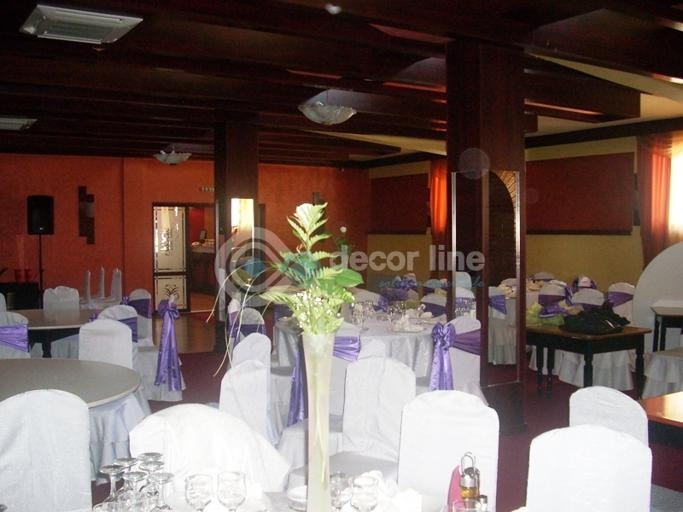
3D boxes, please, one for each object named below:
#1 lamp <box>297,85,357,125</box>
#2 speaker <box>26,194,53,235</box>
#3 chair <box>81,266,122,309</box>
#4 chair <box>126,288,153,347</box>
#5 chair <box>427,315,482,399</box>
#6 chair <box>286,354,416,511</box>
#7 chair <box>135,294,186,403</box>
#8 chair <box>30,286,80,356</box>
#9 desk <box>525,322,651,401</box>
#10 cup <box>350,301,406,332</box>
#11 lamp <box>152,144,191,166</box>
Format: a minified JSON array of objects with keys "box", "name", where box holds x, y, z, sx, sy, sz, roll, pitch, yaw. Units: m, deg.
[{"box":[-0.167,-1.978,7.444,0.782,0.461,0.576,0,-1,-3],"name":"lamp"},{"box":[-5.721,-0.775,10.634,0.423,0.664,0.319,1,0,-31],"name":"speaker"},{"box":[-4.356,0.557,10.063,0.517,0.614,0.802,-2,7,-40],"name":"chair"},{"box":[-2.493,0.884,6.846,0.249,0.428,0.237,-11,-9,-27],"name":"chair"},{"box":[1.094,0.906,5.117,0.505,0.718,0.614,1,6,25],"name":"chair"},{"box":[0.088,1.095,3.904,0.744,1.277,0.840,4,-5,31],"name":"chair"},{"box":[-2.038,0.936,6.338,0.431,1.011,0.425,1,7,-2],"name":"chair"},{"box":[-3.615,0.892,7.145,0.562,0.968,0.597,0,2,-35],"name":"chair"},{"box":[2.802,1.180,6.270,0.915,0.647,0.716,1,-4,-26],"name":"desk"},{"box":[0.378,0.625,5.739,0.440,0.210,0.564,0,-5,0],"name":"cup"},{"box":[-3.209,-1.856,10.458,0.517,0.194,0.531,-1,-1,30],"name":"lamp"}]
